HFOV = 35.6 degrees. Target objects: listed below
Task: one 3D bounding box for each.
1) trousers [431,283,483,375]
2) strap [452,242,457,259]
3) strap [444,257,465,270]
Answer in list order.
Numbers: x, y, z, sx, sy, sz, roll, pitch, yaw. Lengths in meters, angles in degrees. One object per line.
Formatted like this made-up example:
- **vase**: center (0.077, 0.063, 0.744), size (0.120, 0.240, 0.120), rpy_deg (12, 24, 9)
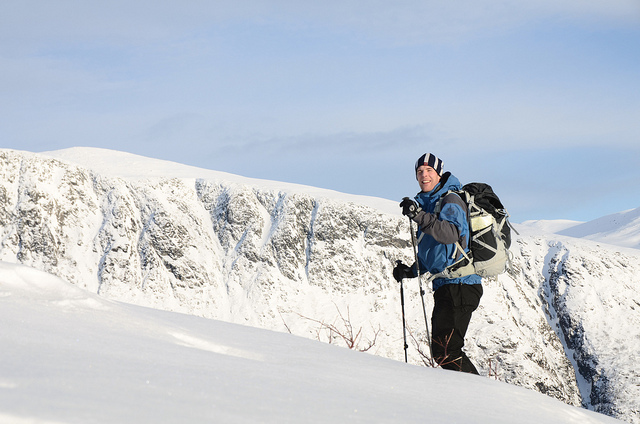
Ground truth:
- **trousers**: center (7.285, 6.128, 53.186), size (2.446, 4.628, 0.683), rpy_deg (3, -10, 6)
- **strap**: center (7.359, 2.133, 53.218), size (0.240, 0.760, 0.132), rpy_deg (-5, -14, 41)
- **strap**: center (7.349, 2.755, 53.246), size (1.181, 0.132, 0.140), rpy_deg (-29, -3, 8)
